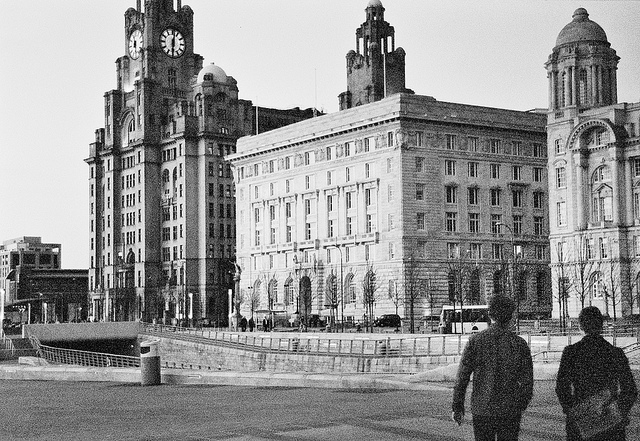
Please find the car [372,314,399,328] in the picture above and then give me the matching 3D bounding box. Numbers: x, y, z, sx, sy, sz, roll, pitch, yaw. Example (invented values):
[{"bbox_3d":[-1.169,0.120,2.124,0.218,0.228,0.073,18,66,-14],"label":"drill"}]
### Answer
[{"bbox_3d":[7.294,10.870,155.384,2.412,1.143,1.291,1,-6,8],"label":"car"}]
